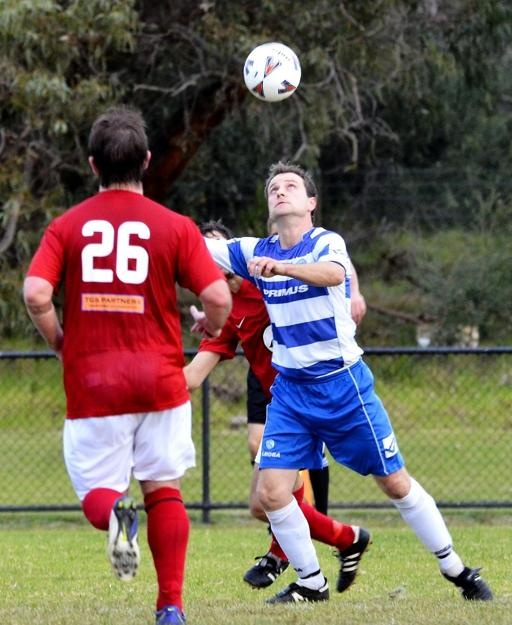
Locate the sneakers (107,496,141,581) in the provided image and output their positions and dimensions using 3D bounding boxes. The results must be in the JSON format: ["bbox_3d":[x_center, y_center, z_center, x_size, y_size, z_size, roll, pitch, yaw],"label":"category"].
[{"bbox_3d":[-0.494,0.856,3.871,0.098,0.338,0.136,-3,-6,-4],"label":"sneakers"}]

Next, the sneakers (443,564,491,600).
[{"bbox_3d":[0.958,1.240,4.734,0.106,0.095,0.243,-2,31,-32],"label":"sneakers"}]

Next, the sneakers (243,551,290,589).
[{"bbox_3d":[0.058,1.299,5.212,0.115,0.127,0.280,34,25,14],"label":"sneakers"}]

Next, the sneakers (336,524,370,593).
[{"bbox_3d":[0.460,1.208,5.036,0.169,0.368,0.114,9,7,-16],"label":"sneakers"}]

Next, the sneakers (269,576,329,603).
[{"bbox_3d":[0.203,1.294,4.776,0.306,0.143,0.116,1,-8,3],"label":"sneakers"}]

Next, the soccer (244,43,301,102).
[{"bbox_3d":[0.098,-1.479,6.300,0.336,0.363,0.301,-3,7,0],"label":"soccer"}]

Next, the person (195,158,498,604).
[{"bbox_3d":[0.350,0.317,4.827,0.992,2.002,0.765,-4,7,-15],"label":"person"}]

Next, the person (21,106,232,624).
[{"bbox_3d":[-0.493,0.370,4.164,0.809,1.717,0.443,-3,7,-2],"label":"person"}]
